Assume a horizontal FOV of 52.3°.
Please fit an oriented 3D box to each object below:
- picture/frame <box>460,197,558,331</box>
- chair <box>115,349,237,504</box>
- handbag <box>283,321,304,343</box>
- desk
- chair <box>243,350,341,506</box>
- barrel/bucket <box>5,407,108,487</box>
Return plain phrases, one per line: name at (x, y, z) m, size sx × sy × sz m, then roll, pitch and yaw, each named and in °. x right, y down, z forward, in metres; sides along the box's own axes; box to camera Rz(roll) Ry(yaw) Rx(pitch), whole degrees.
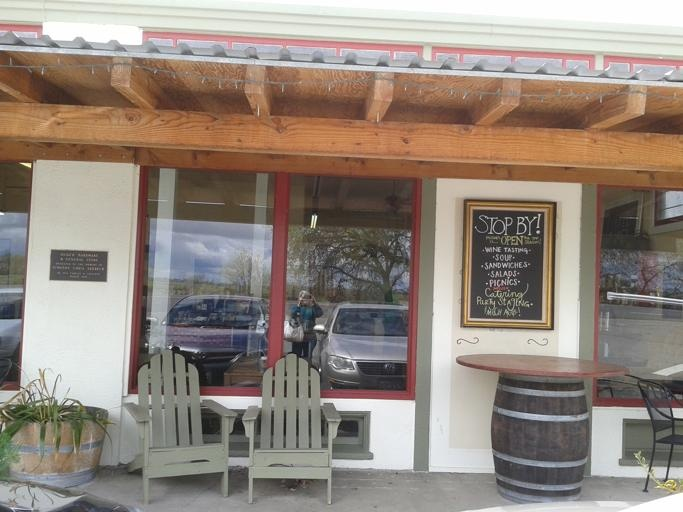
picture/frame at (1.575, 0.127, 6.528) m, size 1.321 × 1.591 × 0.120 m, roll 2°, pitch -2°, yaw 0°
chair at (-1.405, 1.444, 6.025) m, size 1.034 × 0.989 × 1.147 m, roll 3°, pitch 2°, yaw -11°
handbag at (-0.451, 0.712, 6.514) m, size 0.224 × 0.183 × 0.113 m, roll 2°, pitch 3°, yaw 4°
desk at (1.837, 1.507, 6.090) m, size 1.459 × 1.002 × 1.438 m, roll 4°, pitch -8°, yaw -16°
chair at (-0.443, 1.465, 6.111) m, size 0.810 × 1.201 × 0.648 m, roll 2°, pitch -5°, yaw -5°
barrel/bucket at (-2.584, 1.756, 6.130) m, size 0.873 × 0.494 × 0.849 m, roll -6°, pitch -13°, yaw -1°
